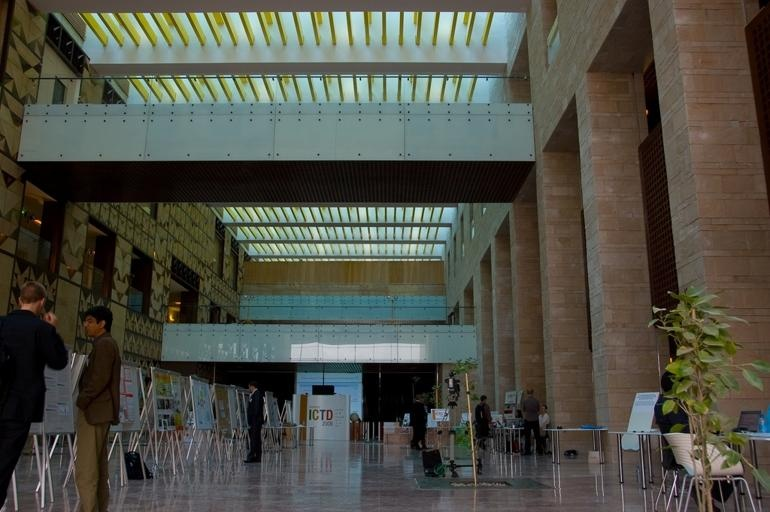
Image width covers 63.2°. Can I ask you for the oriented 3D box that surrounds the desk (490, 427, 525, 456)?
[{"bbox_3d":[3.600,5.352,18.205,0.764,0.683,1.357,1,-11,4],"label":"desk"}]

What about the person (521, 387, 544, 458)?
[{"bbox_3d":[3.898,4.383,16.639,0.531,1.605,2.055,-5,-19,13],"label":"person"}]

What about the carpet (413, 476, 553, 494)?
[{"bbox_3d":[1.634,3.866,10.748,2.134,0.190,1.548,-2,-19,3],"label":"carpet"}]

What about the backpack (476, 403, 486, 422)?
[{"bbox_3d":[2.834,4.525,18.467,0.277,0.446,0.284,-3,-18,7],"label":"backpack"}]

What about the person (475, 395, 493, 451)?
[{"bbox_3d":[2.878,4.932,18.629,0.348,1.548,0.460,13,-13,-35],"label":"person"}]

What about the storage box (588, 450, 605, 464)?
[{"bbox_3d":[4.539,4.320,13.445,0.407,0.326,0.409,-1,-11,3],"label":"storage box"}]

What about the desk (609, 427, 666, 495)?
[{"bbox_3d":[4.115,3.304,10.241,0.850,0.848,0.861,-2,-11,21],"label":"desk"}]

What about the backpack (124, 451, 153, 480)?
[{"bbox_3d":[-4.432,3.745,11.261,0.520,0.477,0.408,6,-20,-21],"label":"backpack"}]
